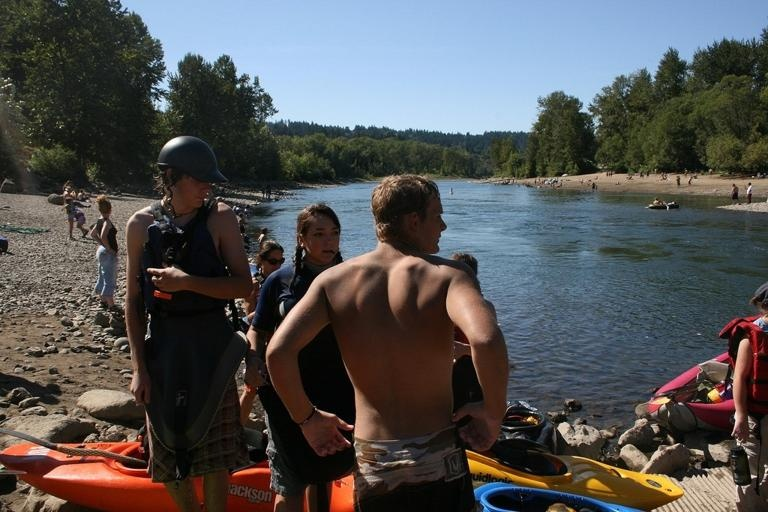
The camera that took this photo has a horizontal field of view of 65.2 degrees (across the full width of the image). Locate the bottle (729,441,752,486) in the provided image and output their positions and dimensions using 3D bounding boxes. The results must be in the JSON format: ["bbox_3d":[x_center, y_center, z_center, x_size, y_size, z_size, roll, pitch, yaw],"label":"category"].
[{"bbox_3d":[3.702,2.162,6.206,0.245,0.454,0.187,1,9,7],"label":"bottle"}]

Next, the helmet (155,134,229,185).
[{"bbox_3d":[-1.759,-0.863,5.573,0.605,0.319,0.443,10,8,6],"label":"helmet"}]
